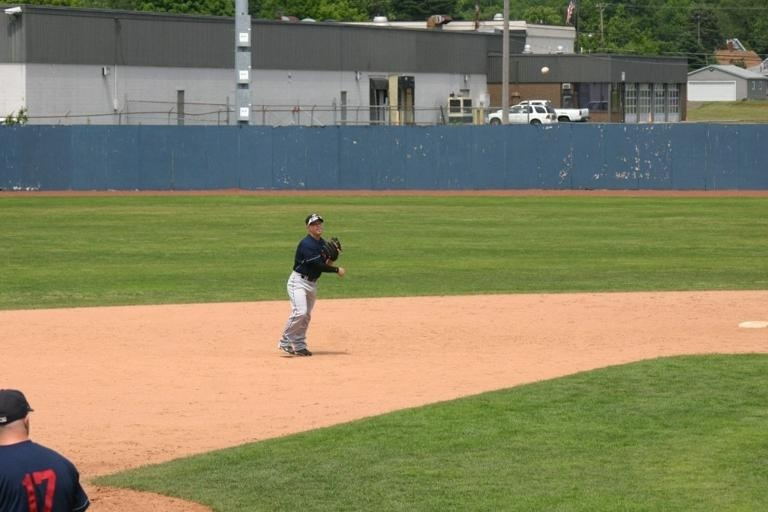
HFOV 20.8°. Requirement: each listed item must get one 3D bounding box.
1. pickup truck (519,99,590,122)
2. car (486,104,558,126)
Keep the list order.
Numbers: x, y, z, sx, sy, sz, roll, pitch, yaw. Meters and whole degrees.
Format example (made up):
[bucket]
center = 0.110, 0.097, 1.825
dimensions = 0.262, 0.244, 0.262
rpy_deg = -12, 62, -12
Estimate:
[pickup truck]
center = 11.861, -10.003, 146.638
dimensions = 4.806, 1.562, 1.953
rpy_deg = 2, 4, 6
[car]
center = 9.711, -9.284, 143.929
dimensions = 5.141, 1.673, 2.343
rpy_deg = 4, 6, 10
